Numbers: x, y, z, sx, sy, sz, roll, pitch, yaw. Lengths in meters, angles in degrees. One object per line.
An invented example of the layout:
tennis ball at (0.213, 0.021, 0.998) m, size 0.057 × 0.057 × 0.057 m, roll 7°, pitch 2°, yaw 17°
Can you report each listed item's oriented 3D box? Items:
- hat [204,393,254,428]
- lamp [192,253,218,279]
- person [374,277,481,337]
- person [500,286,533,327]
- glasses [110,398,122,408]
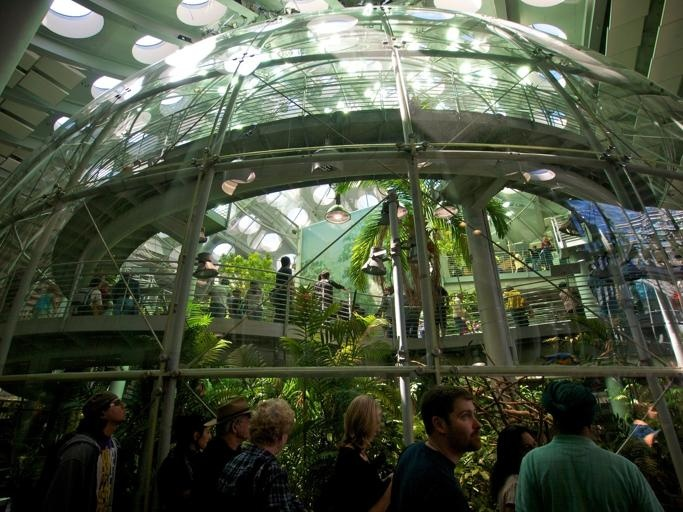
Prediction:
hat at (-0.842, 1.168, 3.212) m, size 0.410 × 0.103 × 0.307 m, roll -15°, pitch -6°, yaw -15°
lamp at (-2.037, 0.161, 6.350) m, size 0.426 × 0.370 × 0.431 m, roll 10°, pitch -27°, yaw -29°
person at (1.484, 0.997, 7.194) m, size 1.291 × 0.352 × 0.773 m, roll 6°, pitch -23°, yaw -15°
person at (2.407, 0.696, 5.779) m, size 0.289 × 0.232 × 0.752 m, roll 6°, pitch 0°, yaw 16°
glasses at (-1.794, 1.174, 3.377) m, size 0.061 × 0.050 × 0.056 m, roll -8°, pitch -60°, yaw -1°
